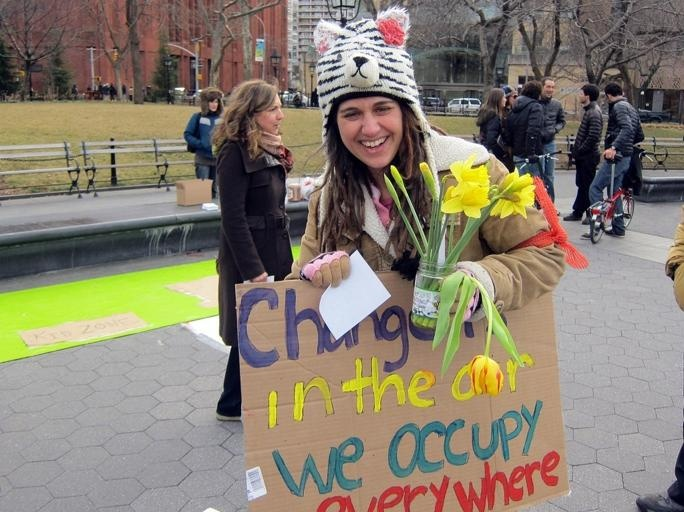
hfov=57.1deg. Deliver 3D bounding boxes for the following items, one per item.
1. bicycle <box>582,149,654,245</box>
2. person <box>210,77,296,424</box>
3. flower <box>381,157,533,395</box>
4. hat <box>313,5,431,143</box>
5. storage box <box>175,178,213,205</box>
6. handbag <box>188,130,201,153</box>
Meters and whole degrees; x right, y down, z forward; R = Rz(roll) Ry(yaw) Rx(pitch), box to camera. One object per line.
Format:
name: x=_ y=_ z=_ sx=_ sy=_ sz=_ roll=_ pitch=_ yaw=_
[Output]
bicycle: x=4.623 y=-0.951 z=10.516 sx=0.842 sy=1.321 sz=1.849 roll=14 pitch=22 yaw=42
person: x=-0.659 y=0.013 z=4.761 sx=0.693 sy=2.576 sz=0.688 roll=-9 pitch=17 yaw=-34
flower: x=0.430 y=0.084 z=2.470 sx=0.571 sy=0.920 sz=0.524 roll=5 pitch=1 yaw=15
hat: x=0.106 y=-0.854 z=2.929 sx=0.519 sy=0.782 sz=0.498 roll=-5 pitch=4 yaw=-1
storage box: x=-2.457 y=-1.216 z=10.374 sx=0.617 sy=0.519 sz=0.365 roll=-8 pitch=21 yaw=-26
handbag: x=-2.677 y=-2.079 z=11.422 sx=0.232 sy=0.556 sz=0.361 roll=1 pitch=12 yaw=-5
